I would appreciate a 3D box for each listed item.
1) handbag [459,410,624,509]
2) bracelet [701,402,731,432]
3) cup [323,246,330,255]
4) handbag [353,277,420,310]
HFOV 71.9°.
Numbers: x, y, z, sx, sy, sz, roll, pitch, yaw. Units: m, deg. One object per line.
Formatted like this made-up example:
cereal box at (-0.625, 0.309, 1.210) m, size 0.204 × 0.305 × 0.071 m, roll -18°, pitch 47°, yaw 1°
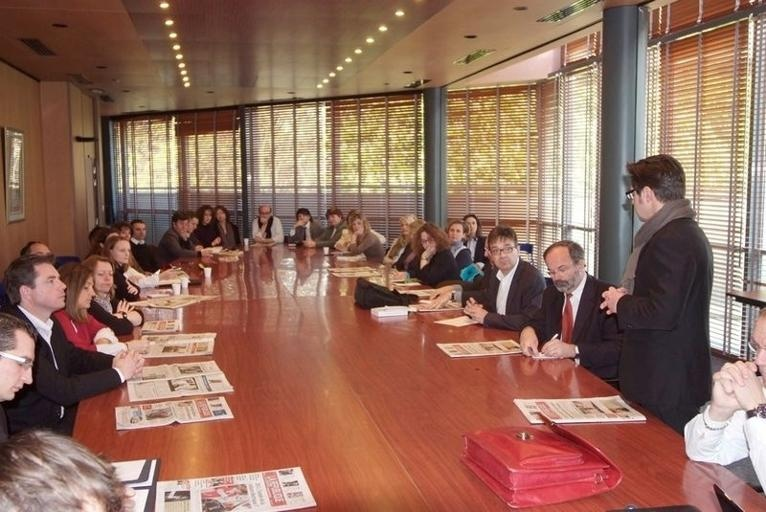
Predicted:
handbag at (0.629, 0.787, 2.109) m, size 0.532 × 0.217 × 0.372 m, roll -4°, pitch 10°, yaw -13°
bracelet at (1.368, 0.680, 2.211) m, size 0.088 × 0.054 × 0.110 m, roll 0°, pitch -6°, yaw -3°
cup at (-0.963, -0.095, 9.002) m, size 0.148 × 0.143 × 0.144 m, roll -1°, pitch -6°, yaw 0°
handbag at (0.013, 0.332, 4.722) m, size 0.419 × 0.161 × 0.320 m, roll 0°, pitch 3°, yaw -14°
